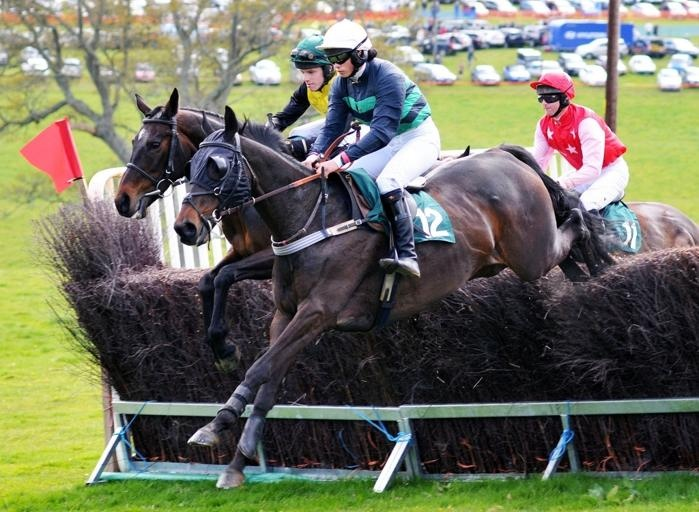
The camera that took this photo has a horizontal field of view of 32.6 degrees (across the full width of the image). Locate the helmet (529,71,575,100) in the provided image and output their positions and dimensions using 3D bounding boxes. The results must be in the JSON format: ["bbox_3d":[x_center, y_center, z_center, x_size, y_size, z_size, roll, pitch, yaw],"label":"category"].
[{"bbox_3d":[1.965,-1.681,11.489,0.385,0.165,0.266,12,-11,-27],"label":"helmet"}]

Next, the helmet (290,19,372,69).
[{"bbox_3d":[-0.113,-1.823,10.318,0.725,0.340,0.467,-4,-1,-18],"label":"helmet"}]

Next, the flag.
[{"bbox_3d":[-2.921,-0.970,11.702,0.556,0.766,0.553,-3,12,-15],"label":"flag"}]
